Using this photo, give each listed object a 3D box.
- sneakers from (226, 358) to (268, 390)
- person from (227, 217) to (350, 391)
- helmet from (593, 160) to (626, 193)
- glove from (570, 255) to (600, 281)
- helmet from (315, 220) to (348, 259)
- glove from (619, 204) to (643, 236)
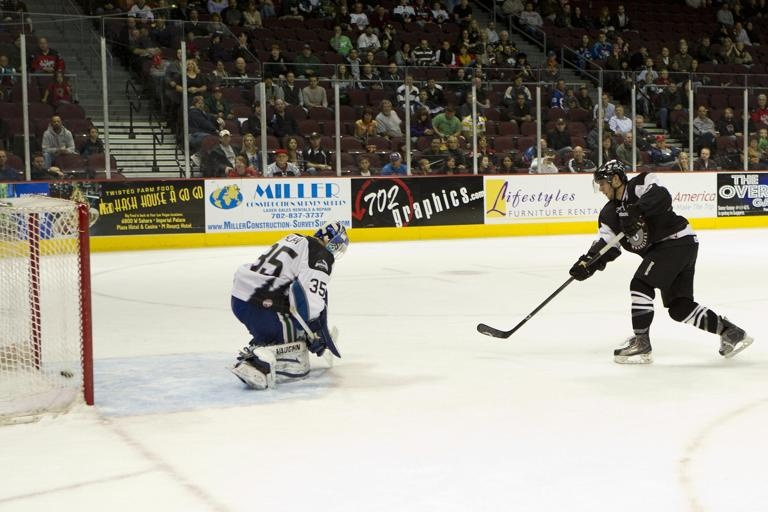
[{"bbox_3d":[-1.039,0.928,6.775,0.190,0.090,0.268,13,-20,44],"label":"sneakers"},{"bbox_3d":[-0.749,0.382,6.955,0.924,1.233,0.586,-2,14,-6],"label":"person"},{"bbox_3d":[1.985,-0.715,7.683,0.272,0.228,0.232,6,3,7],"label":"helmet"},{"bbox_3d":[1.753,0.112,7.666,0.259,0.182,0.116,-33,-31,3],"label":"glove"},{"bbox_3d":[-0.388,-0.130,7.138,0.319,0.235,0.289,-5,50,-16],"label":"helmet"},{"bbox_3d":[2.074,-0.306,7.380,0.190,0.240,0.114,-5,9,43],"label":"glove"}]
